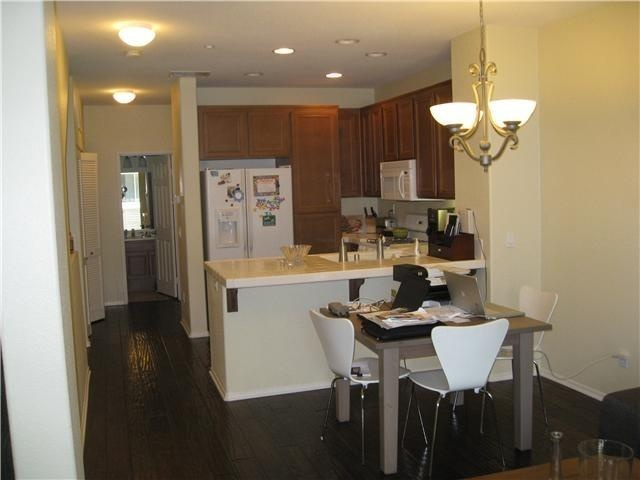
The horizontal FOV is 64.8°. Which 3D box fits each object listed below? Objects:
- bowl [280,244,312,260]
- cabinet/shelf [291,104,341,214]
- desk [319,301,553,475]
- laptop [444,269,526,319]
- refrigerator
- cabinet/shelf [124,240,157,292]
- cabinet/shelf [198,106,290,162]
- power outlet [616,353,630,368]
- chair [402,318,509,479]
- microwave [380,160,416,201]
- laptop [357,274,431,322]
[{"bbox_3d":[-0.239,0.120,4.835,0.250,0.143,0.291,-4,5,-5],"label":"bowl"},{"bbox_3d":[-0.006,-1.091,7.031,0.664,1.394,0.496,1,15,8],"label":"cabinet/shelf"},{"bbox_3d":[0.762,0.815,3.621,1.136,0.824,1.057,-4,8,-25],"label":"desk"},{"bbox_3d":[1.171,0.376,3.625,0.528,0.279,0.548,-1,4,-32],"label":"laptop"},{"bbox_3d":[-0.981,-0.412,6.654,1.029,1.407,0.522,-6,35,-13],"label":"refrigerator"},{"bbox_3d":[-3.133,0.457,9.270,0.625,0.822,0.452,-4,-1,20],"label":"cabinet/shelf"},{"bbox_3d":[-1.065,-1.481,6.780,1.344,0.675,0.442,-10,25,-36],"label":"cabinet/shelf"},{"bbox_3d":[2.376,0.947,4.001,0.085,0.109,0.110,-3,0,-10],"label":"power outlet"},{"bbox_3d":[0.911,0.972,3.421,0.597,1.003,0.777,-4,5,5],"label":"chair"},{"bbox_3d":[1.042,-0.737,6.358,0.357,0.479,0.660,-7,9,-26],"label":"microwave"},{"bbox_3d":[0.511,0.397,3.492,0.355,0.235,0.345,1,-3,-17],"label":"laptop"}]
